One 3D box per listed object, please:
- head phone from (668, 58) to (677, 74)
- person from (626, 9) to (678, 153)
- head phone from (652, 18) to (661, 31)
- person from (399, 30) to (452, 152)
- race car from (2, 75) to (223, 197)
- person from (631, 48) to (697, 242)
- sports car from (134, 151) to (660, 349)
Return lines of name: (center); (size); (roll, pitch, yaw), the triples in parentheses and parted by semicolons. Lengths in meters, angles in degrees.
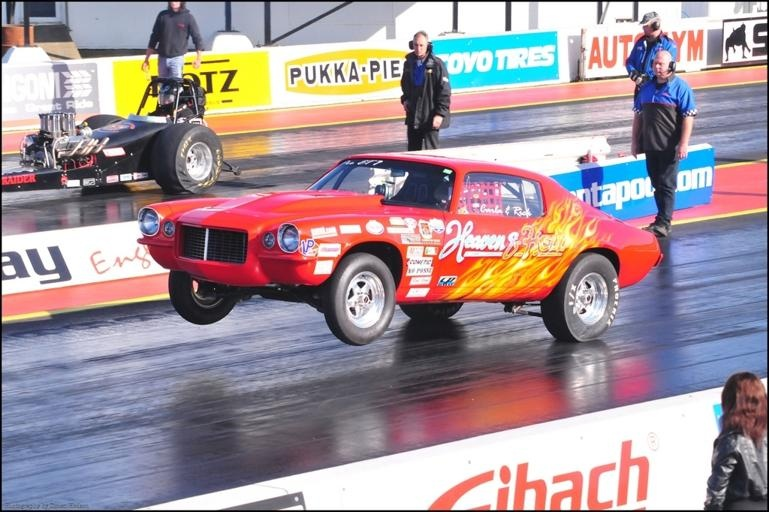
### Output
head phone: (4.143, -2.716, 11.600); (0.175, 0.239, 0.111); (0, 11, 18)
person: (4.103, -2.760, 12.427); (0.675, 1.825, 0.726); (0, 3, 12)
head phone: (4.064, -3.444, 12.051); (0.139, 0.126, 0.033); (1, 9, -18)
person: (0.656, -2.617, 13.047); (0.774, 1.892, 0.625); (1, 20, 13)
race car: (-4.952, -2.123, 14.882); (3.722, 2.212, 1.385); (-4, 11, -22)
person: (4.107, -1.581, 12.006); (1.073, 2.691, 0.960); (4, -1, -3)
sports car: (0.357, -0.069, 8.366); (4.274, 1.479, 2.252); (5, -3, -32)
